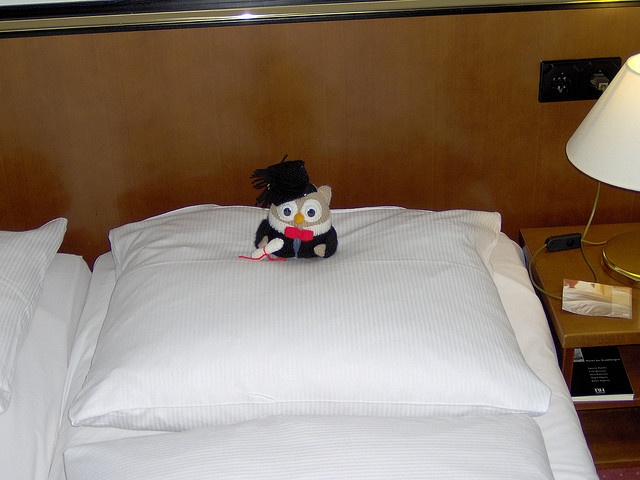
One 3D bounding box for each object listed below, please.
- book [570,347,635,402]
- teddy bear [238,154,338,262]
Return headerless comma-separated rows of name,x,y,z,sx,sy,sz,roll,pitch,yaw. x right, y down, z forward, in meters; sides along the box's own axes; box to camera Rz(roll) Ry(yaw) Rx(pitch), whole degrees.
book,0.768,0.376,1.528,0.164,0.079,0.191,-5,19,15
teddy bear,-0.055,-0.079,1.373,0.204,0.263,0.143,0,27,-4
